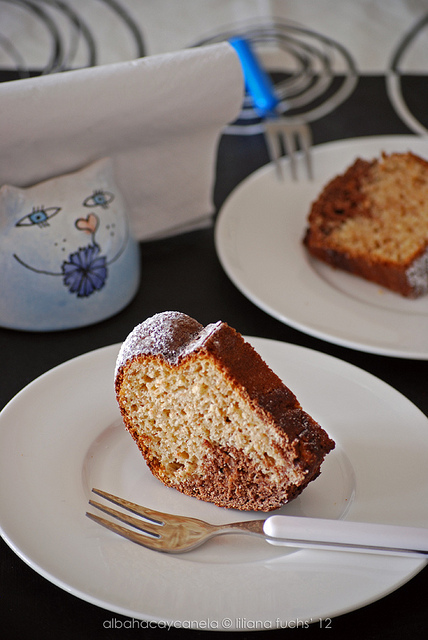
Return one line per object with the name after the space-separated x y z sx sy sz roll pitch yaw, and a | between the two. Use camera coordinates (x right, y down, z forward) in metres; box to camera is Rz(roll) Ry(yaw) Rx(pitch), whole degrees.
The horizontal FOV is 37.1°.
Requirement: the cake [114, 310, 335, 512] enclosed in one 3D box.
0.013 0.101 0.624 0.219 0.154 0.075 6 15 39 | cake
